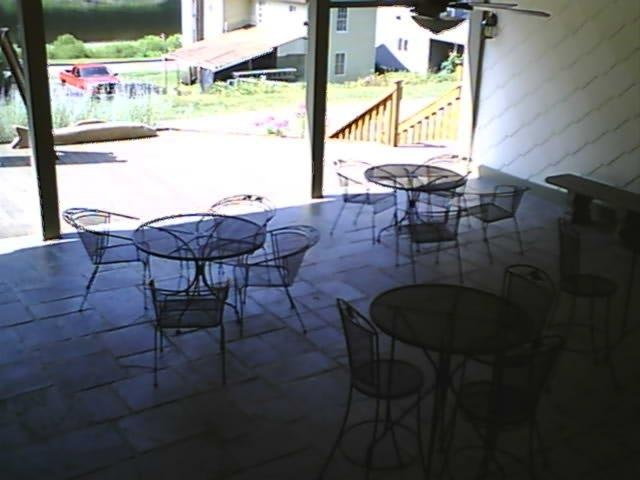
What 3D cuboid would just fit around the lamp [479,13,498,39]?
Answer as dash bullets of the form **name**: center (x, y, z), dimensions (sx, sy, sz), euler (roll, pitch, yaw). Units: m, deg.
- **lamp**: center (2.957, -3.757, 9.772), dimensions (0.460, 0.397, 0.309), euler (3, 22, 16)
